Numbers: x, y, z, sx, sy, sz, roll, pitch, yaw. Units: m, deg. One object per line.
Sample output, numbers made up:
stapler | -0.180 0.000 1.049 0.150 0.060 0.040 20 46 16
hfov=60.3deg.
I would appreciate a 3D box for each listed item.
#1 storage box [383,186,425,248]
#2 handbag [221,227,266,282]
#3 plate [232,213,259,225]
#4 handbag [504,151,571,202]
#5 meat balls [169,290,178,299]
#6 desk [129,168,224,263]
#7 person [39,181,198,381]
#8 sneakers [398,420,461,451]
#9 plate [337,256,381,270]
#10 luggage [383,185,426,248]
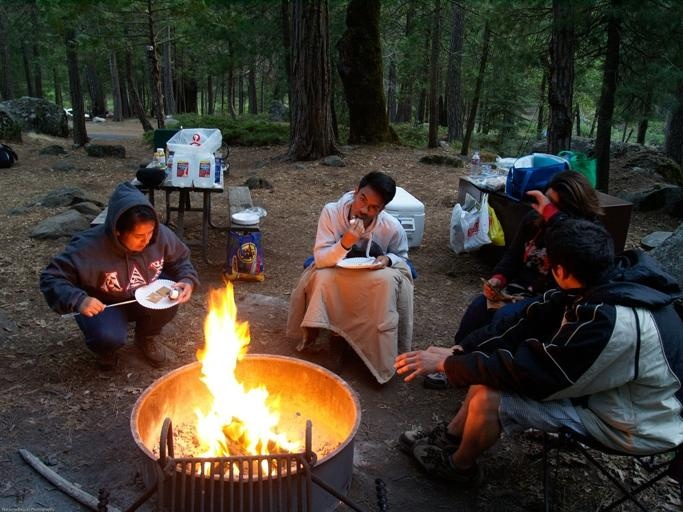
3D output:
storage box | 0.876 -0.568 8.433 0.561 0.625 1.097 1 20 4
handbag | -1.131 -0.004 6.876 0.449 0.627 0.315 0 12 -17
plate | -1.103 -0.422 6.803 0.311 0.091 0.229 -4 21 -11
handbag | 2.250 -0.996 6.752 0.666 0.559 0.509 -3 31 1
meat balls | -1.366 0.311 4.799 0.065 0.051 0.067 6 41 -5
desk | -1.797 -0.456 6.550 0.616 0.607 1.187 11 20 -3
person | -1.841 0.177 4.930 1.163 1.560 0.886 -5 26 -31
sneakers | 0.660 1.392 4.423 0.441 0.210 0.177 5 25 4
plate | 0.138 0.053 5.109 0.348 0.069 0.279 -4 21 -12
luggage | 0.858 -0.539 8.426 0.567 0.611 1.088 1 17 2
